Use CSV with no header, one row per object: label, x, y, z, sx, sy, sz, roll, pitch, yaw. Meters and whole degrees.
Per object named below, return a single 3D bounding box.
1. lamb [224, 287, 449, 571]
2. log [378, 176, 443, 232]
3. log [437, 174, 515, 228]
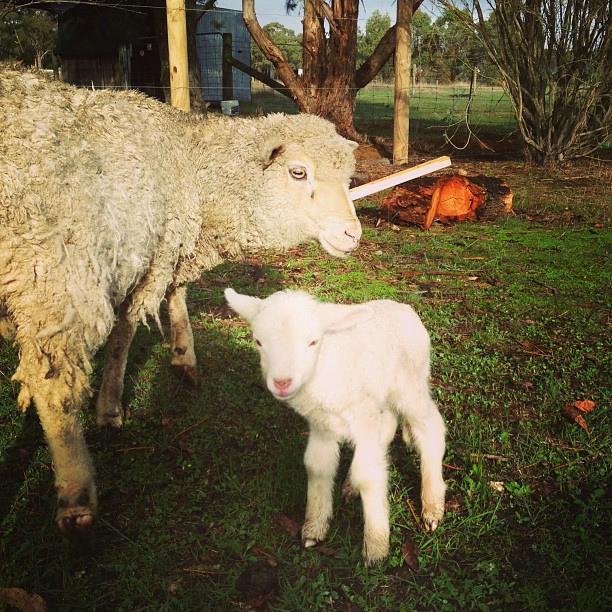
lamb,0.249,0.524,2.737,1.014,1.239,0.714,-10,23,-29
log,1.457,-1.444,7.938,0.803,0.632,0.697,9,21,18
log,2.338,-1.468,8.016,1.177,0.642,0.329,-8,23,-27
